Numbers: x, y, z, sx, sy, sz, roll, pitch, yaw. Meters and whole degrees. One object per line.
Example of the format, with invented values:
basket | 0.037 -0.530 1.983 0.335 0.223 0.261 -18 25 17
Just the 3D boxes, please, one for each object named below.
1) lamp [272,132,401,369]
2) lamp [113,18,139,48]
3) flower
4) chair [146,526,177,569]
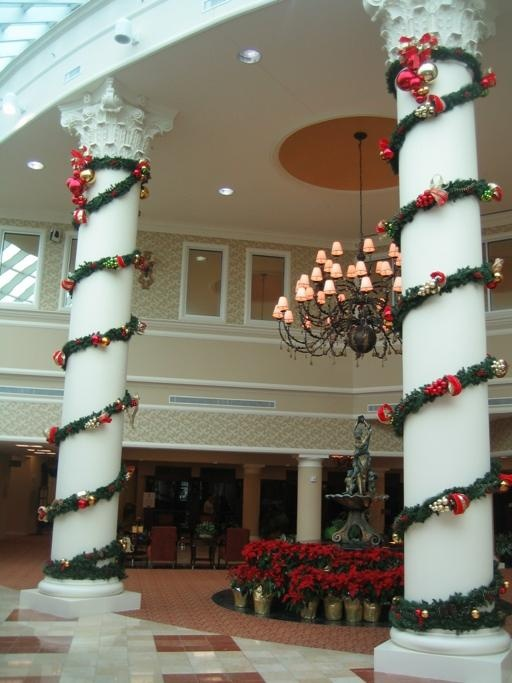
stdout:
lamp | 1.317 -1.237 7.160 1.658 2.621 1.641 -8 13 -36
lamp | -1.245 -2.972 5.620 0.195 0.256 0.304 0 -18 3
flower | 0.571 2.335 5.583 1.701 0.601 1.088 0 -9 18
chair | -1.795 3.955 10.994 0.488 0.794 0.425 5 -9 -10
